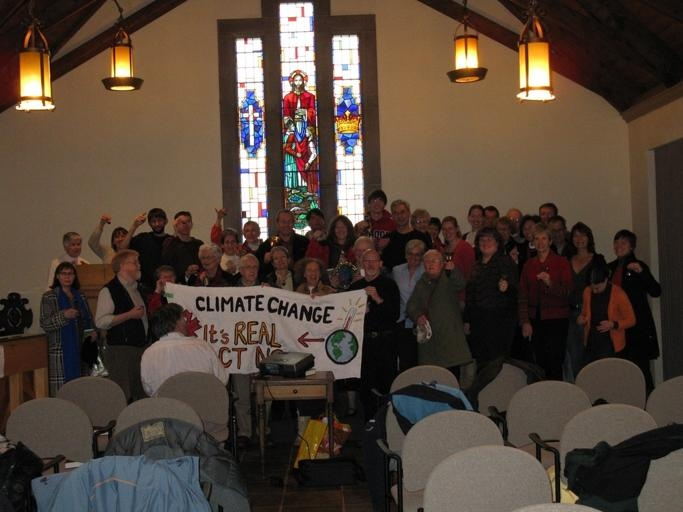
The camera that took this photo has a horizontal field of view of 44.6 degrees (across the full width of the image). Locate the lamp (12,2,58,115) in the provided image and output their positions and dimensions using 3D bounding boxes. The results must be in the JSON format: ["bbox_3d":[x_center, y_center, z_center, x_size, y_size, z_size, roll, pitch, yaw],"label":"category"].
[{"bbox_3d":[-2.993,-1.909,8.123,0.327,0.948,0.355,-1,1,-22],"label":"lamp"}]

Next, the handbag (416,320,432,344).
[{"bbox_3d":[0.873,0.820,8.905,0.081,0.220,0.157,5,-17,-17],"label":"handbag"}]

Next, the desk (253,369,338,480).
[{"bbox_3d":[-0.472,1.637,8.462,0.769,0.875,0.696,0,-2,2],"label":"desk"}]

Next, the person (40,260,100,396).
[{"bbox_3d":[-3.171,0.993,9.817,0.557,1.798,0.490,-9,13,-44],"label":"person"}]

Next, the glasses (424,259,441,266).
[{"bbox_3d":[0.987,0.064,9.011,0.165,0.073,0.067,0,0,-1],"label":"glasses"}]

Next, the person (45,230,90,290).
[{"bbox_3d":[-3.547,0.166,10.961,0.540,0.920,0.439,0,-5,-34],"label":"person"}]
